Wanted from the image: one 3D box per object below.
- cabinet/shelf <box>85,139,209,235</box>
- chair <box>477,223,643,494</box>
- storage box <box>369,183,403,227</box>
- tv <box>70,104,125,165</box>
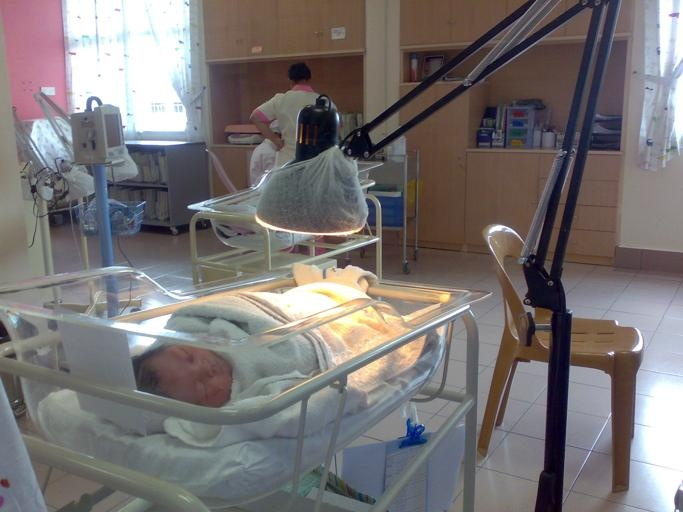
[{"bbox_3d":[-1.714,-0.643,5.059,1.051,0.999,0.550,8,11,37],"label":"cabinet/shelf"},{"bbox_3d":[0.918,0.358,2.269,0.600,0.909,0.545,1,9,35],"label":"chair"},{"bbox_3d":[0.412,-0.444,4.755,0.316,0.324,0.336,1,8,9],"label":"storage box"},{"bbox_3d":[-1.221,-0.611,2.771,0.243,0.288,0.259,-7,16,-25],"label":"tv"}]
